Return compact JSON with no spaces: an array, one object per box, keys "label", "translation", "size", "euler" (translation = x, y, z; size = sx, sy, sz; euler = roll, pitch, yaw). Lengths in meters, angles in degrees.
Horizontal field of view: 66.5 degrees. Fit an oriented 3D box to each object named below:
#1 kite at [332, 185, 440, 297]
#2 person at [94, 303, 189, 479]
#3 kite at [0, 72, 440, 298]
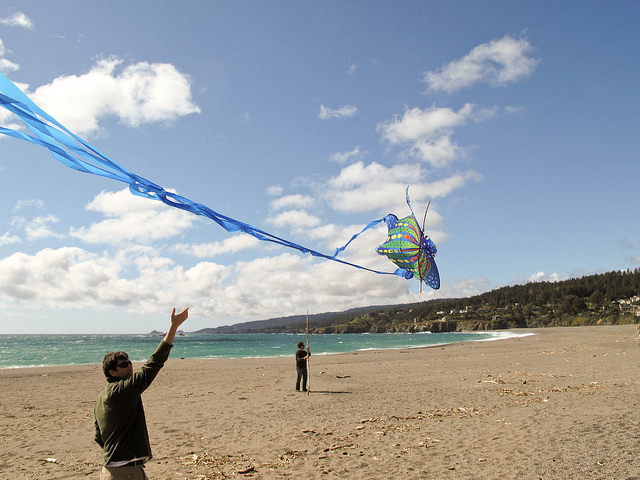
[{"label":"kite","translation":[2.066,0.038,14.106],"size":[3.152,2.859,1.805],"euler":[0,-54,22]},{"label":"person","translation":[-3.373,3.002,8.700],"size":[1.498,2.504,0.617],"euler":[-4,-12,11]},{"label":"kite","translation":[-1.706,-0.791,8.772],"size":[6.830,1.781,1.784],"euler":[19,-18,6]}]
